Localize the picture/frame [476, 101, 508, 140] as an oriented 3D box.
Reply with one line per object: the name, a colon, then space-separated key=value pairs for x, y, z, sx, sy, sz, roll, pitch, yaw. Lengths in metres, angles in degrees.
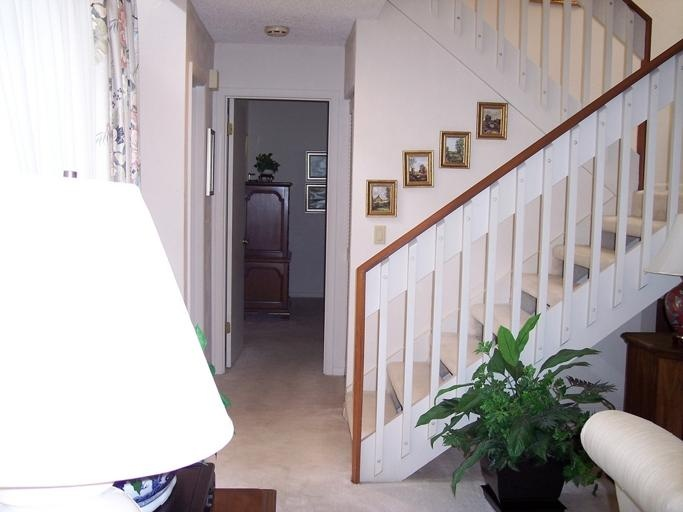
picture/frame: x=1.080 y=-0.990 z=3.799 sx=0.234 sy=0.298 sz=0.023 roll=0 pitch=6 yaw=-7

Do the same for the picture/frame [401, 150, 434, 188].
picture/frame: x=0.544 y=-0.644 z=3.804 sx=0.240 sy=0.308 sz=0.022 roll=0 pitch=4 yaw=-4

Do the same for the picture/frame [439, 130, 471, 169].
picture/frame: x=0.813 y=-0.783 z=3.811 sx=0.238 sy=0.304 sz=0.023 roll=0 pitch=4 yaw=-7

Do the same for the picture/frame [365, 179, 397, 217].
picture/frame: x=0.288 y=-0.431 z=3.799 sx=0.235 sy=0.309 sz=0.022 roll=0 pitch=3 yaw=-5

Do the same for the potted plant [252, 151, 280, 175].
potted plant: x=-0.888 y=-1.165 z=6.640 sx=0.351 sy=0.276 sz=0.357 roll=-6 pitch=16 yaw=-30

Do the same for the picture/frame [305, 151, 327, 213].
picture/frame: x=-0.352 y=-1.076 z=7.659 sx=0.293 sy=0.893 sz=0.135 roll=3 pitch=6 yaw=10

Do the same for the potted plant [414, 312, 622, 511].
potted plant: x=0.812 y=0.750 z=2.524 sx=0.898 sy=0.958 sz=0.637 roll=-1 pitch=7 yaw=-22
